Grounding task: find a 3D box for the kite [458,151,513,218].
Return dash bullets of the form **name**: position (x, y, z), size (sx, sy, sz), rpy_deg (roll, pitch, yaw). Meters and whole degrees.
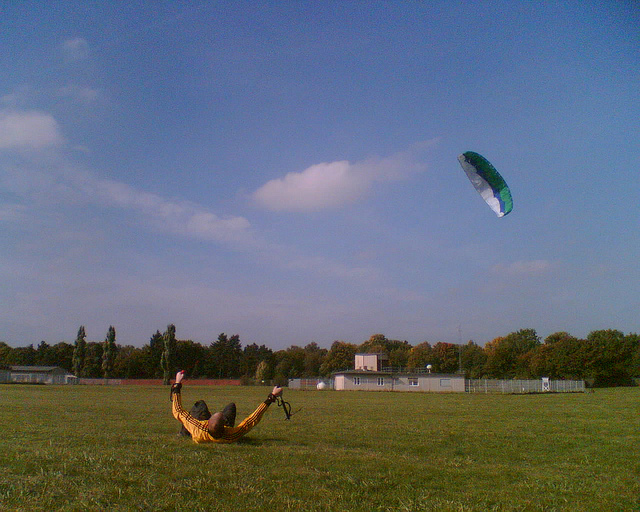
- **kite**: position (7.518, -3.025, 31.160), size (1.934, 3.234, 2.345), rpy_deg (-1, -13, 12)
